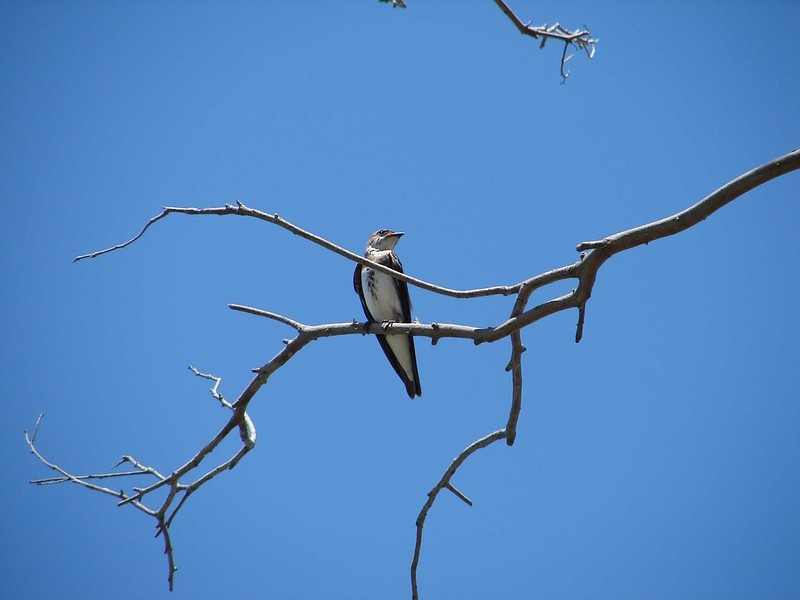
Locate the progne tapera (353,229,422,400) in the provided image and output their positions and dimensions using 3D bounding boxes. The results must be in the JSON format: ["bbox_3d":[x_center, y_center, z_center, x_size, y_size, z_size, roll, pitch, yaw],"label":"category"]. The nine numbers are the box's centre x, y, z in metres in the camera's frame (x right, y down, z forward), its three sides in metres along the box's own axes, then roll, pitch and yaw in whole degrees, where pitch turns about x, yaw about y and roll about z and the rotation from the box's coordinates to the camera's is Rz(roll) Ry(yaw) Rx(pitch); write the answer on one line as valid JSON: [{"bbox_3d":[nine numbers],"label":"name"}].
[{"bbox_3d":[-0.088,0.137,12.164,0.386,0.500,1.393,-16,-85,10],"label":"progne tapera"}]
